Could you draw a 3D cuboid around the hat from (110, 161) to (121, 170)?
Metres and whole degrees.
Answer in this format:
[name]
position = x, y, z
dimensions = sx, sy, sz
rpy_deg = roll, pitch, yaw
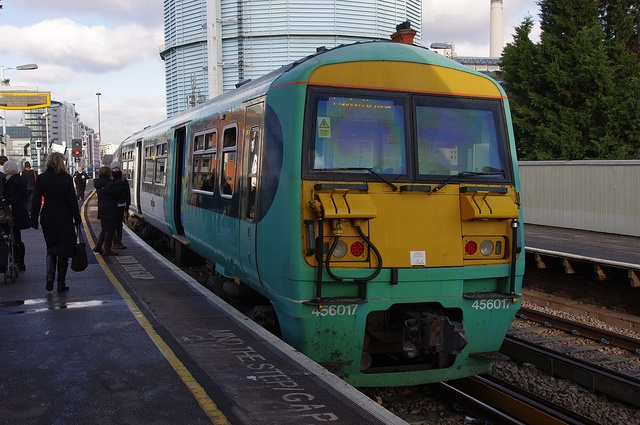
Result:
[hat]
position = -5.961, -1.390, 14.406
dimensions = 0.245, 0.221, 0.237
rpy_deg = -5, 11, -39

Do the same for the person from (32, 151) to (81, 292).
[person]
position = -4.897, 0.193, 9.165
dimensions = 0.731, 2.595, 1.103
rpy_deg = -5, 6, -37
